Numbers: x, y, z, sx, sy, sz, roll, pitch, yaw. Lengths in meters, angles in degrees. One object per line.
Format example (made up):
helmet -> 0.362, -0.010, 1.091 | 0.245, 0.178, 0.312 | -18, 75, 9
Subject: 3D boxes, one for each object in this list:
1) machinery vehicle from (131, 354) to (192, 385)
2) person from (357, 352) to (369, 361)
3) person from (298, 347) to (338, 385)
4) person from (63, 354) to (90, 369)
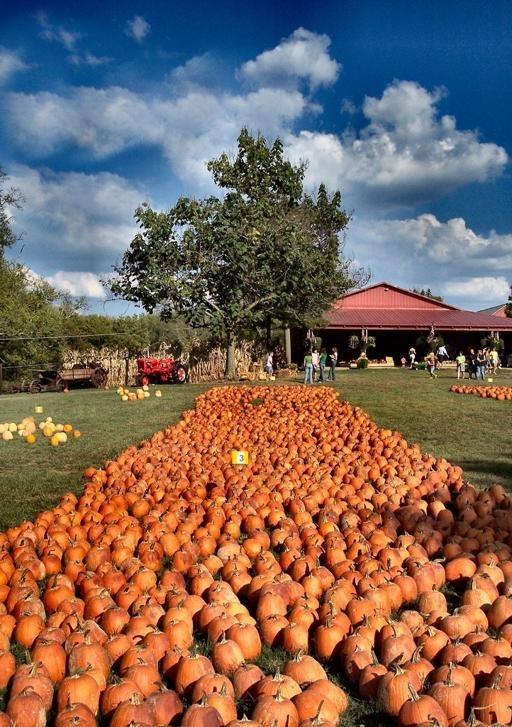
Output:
machinery vehicle -> -4.459, 0.334, 23.761 | 1.912, 1.068, 1.337 | 2, -2, -44
person -> 7.078, -0.430, 32.463 | 0.701, 0.752, 0.697 | 5, 6, 38
person -> 2.919, 0.164, 22.761 | 1.484, 1.594, 0.500 | 4, 8, 22
person -> -10.408, -0.175, 29.174 | 1.439, 0.772, 1.589 | 1, 15, -18
